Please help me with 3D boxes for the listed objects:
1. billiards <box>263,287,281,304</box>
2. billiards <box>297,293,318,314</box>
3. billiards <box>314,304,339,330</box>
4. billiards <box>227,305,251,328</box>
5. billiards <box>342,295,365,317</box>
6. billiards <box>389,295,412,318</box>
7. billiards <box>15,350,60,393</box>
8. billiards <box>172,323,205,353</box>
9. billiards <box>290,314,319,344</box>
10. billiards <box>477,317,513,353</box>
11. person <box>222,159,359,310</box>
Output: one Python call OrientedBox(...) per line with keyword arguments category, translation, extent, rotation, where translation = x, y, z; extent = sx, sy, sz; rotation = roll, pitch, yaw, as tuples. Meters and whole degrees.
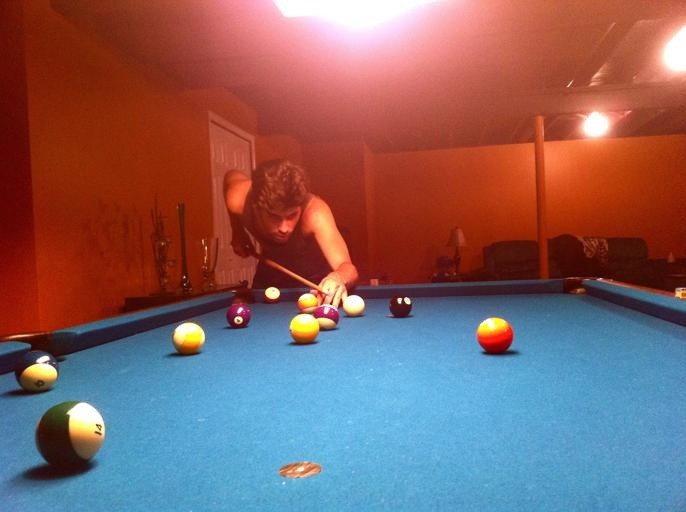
OrientedBox(category="billiards", translation=(-0.437, 0.229, 3.213), extent=(0.083, 0.055, 0.088), rotation=(15, 45, 6))
OrientedBox(category="billiards", translation=(-0.171, 0.237, 2.627), extent=(0.087, 0.096, 0.088), rotation=(-7, 15, -19))
OrientedBox(category="billiards", translation=(-0.073, 0.251, 2.280), extent=(0.092, 0.103, 0.096), rotation=(7, 5, -4))
OrientedBox(category="billiards", translation=(-0.472, 0.257, 2.416), extent=(0.097, 0.123, 0.095), rotation=(-3, 7, -19))
OrientedBox(category="billiards", translation=(0.054, 0.242, 2.623), extent=(0.088, 0.071, 0.099), rotation=(-3, 9, 16))
OrientedBox(category="billiards", translation=(0.284, 0.242, 2.569), extent=(0.094, 0.101, 0.090), rotation=(-2, 2, -42))
OrientedBox(category="billiards", translation=(-0.888, 0.326, 1.555), extent=(0.126, 0.103, 0.122), rotation=(2, 4, -31))
OrientedBox(category="billiards", translation=(-0.571, 0.298, 1.963), extent=(0.096, 0.120, 0.102), rotation=(2, 17, 29))
OrientedBox(category="billiards", translation=(-0.142, 0.276, 2.002), extent=(0.096, 0.107, 0.102), rotation=(2, 4, 7))
OrientedBox(category="billiards", translation=(0.522, 0.272, 1.848), extent=(0.107, 0.119, 0.111), rotation=(1, -6, -1))
OrientedBox(category="person", translation=(-0.613, -0.360, 5.699), extent=(1.031, 1.599, 0.798), rotation=(-1, 10, -32))
